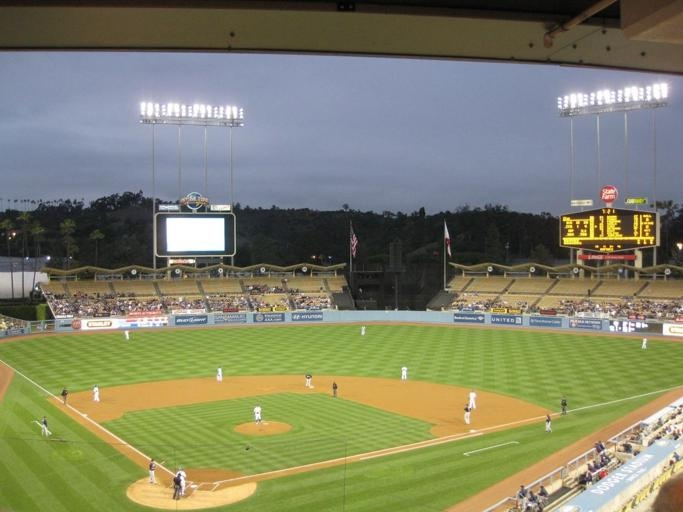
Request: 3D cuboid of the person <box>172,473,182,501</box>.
[{"bbox_3d":[-8.235,11.588,43.703,0.423,1.290,0.324,-2,5,-11],"label":"person"}]
